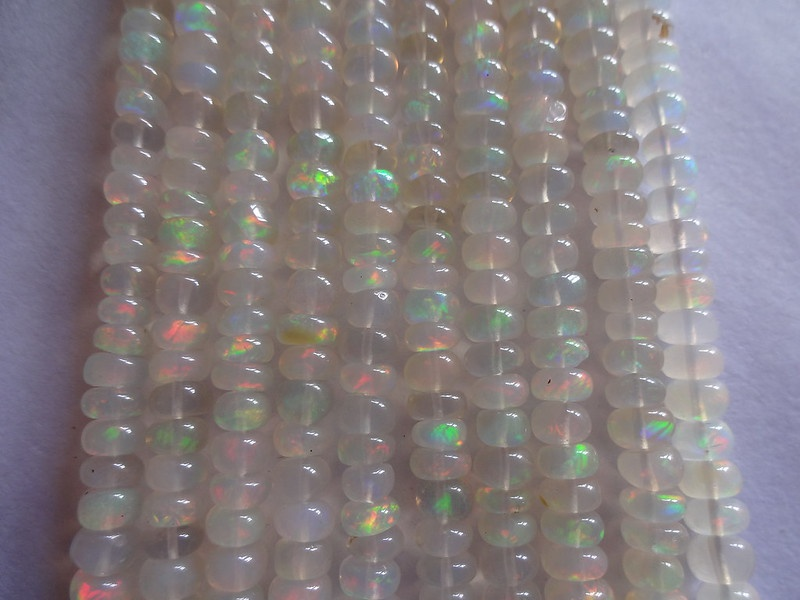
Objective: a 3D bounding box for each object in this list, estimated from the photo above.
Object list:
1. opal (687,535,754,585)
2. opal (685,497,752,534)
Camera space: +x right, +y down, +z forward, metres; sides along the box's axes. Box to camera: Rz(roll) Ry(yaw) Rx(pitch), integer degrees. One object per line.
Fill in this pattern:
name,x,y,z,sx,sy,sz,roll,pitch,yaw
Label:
opal,0.465,0.379,1.231,0.088,0.031,0.067,-1,80,-3
opal,0.459,0.316,1.229,0.068,0.065,0.024,5,81,-29
